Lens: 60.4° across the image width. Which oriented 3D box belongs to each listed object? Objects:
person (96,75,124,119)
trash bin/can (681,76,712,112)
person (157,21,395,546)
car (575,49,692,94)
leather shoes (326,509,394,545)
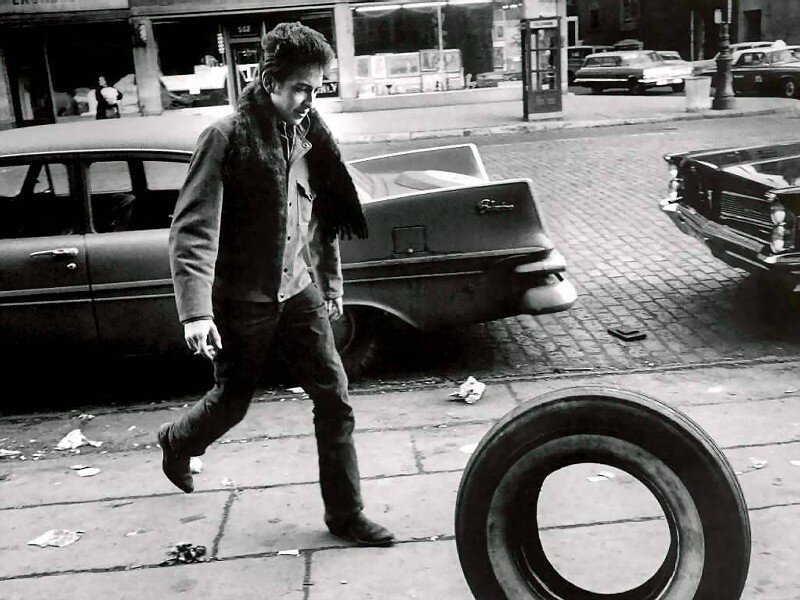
[{"bbox_3d":[-9.545,-6.615,22.255,0.759,1.330,0.854,1,17,17],"label":"person"},{"bbox_3d":[8.061,-5.542,18.538,0.757,0.874,0.647,-3,16,1],"label":"trash bin/can"},{"bbox_3d":[-0.604,-0.008,3.160,1.105,2.373,0.734,-10,18,-21],"label":"person"},{"bbox_3d":[9.426,-9.216,27.898,1.785,1.721,4.140,-16,20,-36],"label":"car"},{"bbox_3d":[-0.178,1.105,3.356,0.367,0.144,0.131,2,5,23],"label":"leather shoes"}]
